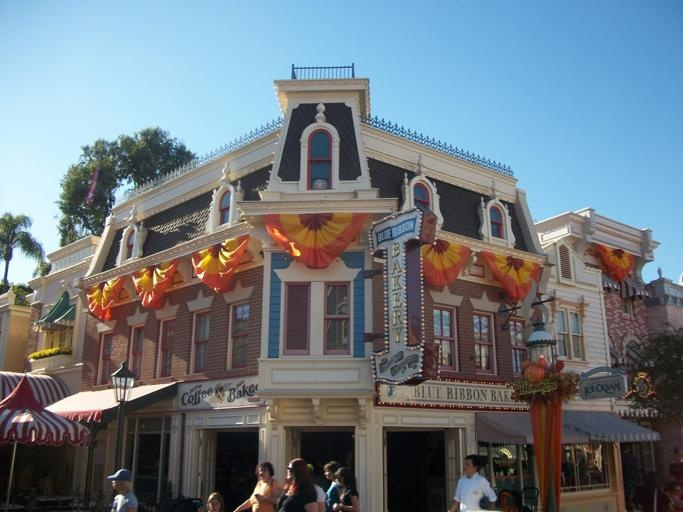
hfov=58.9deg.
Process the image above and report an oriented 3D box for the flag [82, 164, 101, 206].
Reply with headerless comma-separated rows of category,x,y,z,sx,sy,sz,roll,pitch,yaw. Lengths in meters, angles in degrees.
flag,-18.377,-5.190,44.553,0.714,2.282,1.585,11,-24,-24
